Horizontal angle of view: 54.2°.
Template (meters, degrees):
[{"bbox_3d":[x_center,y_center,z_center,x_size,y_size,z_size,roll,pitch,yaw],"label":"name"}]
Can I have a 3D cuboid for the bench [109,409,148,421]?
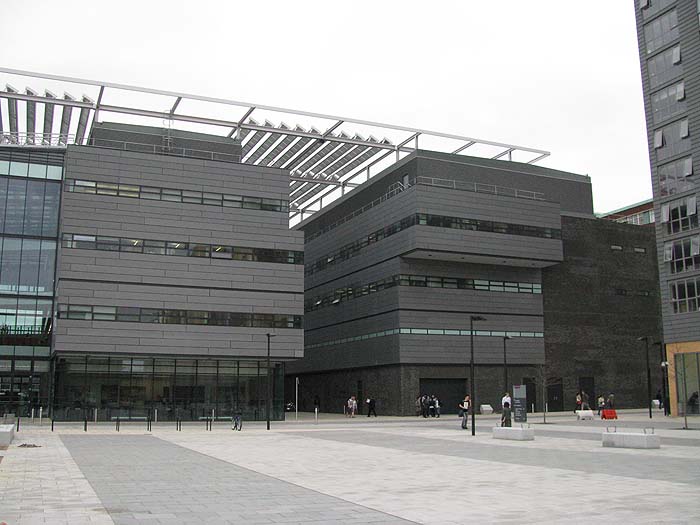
[{"bbox_3d":[-16.058,10.947,49.641,2.564,0.906,0.664,3,-16,-17],"label":"bench"}]

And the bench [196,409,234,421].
[{"bbox_3d":[-10.174,11.414,51.653,2.649,0.893,0.615,4,-17,-18],"label":"bench"}]

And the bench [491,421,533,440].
[{"bbox_3d":[7.948,8.249,33.189,1.273,0.656,2.120,5,-16,-22],"label":"bench"}]

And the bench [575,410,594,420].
[{"bbox_3d":[17.375,11.232,50.732,1.037,0.604,0.954,-8,-17,24],"label":"bench"}]
